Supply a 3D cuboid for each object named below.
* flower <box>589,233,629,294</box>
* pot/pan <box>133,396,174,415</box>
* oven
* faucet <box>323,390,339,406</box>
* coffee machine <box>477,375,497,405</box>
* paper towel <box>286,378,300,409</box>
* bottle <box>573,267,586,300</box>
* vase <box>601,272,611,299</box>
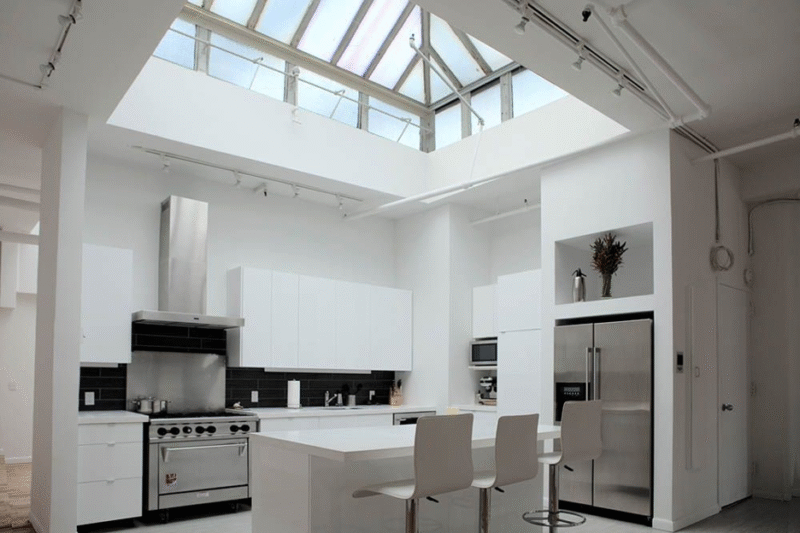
[{"bbox_3d":[2.665,0.000,7.452,0.389,0.804,0.338,1,-11,-2],"label":"flower"},{"bbox_3d":[-3.131,1.770,7.464,0.239,0.146,0.334,1,-2,32],"label":"pot/pan"},{"bbox_3d":[-2.574,2.272,7.295,1.181,0.839,0.803,7,-17,-32],"label":"oven"},{"bbox_3d":[-1.042,2.026,8.975,0.199,0.225,0.206,3,-9,-23],"label":"faucet"},{"bbox_3d":[1.369,1.937,9.091,0.358,0.473,0.299,14,-17,-40],"label":"coffee machine"},{"bbox_3d":[-1.528,1.863,8.482,0.290,0.471,0.308,0,-7,-4],"label":"paper towel"},{"bbox_3d":[2.304,0.261,7.531,0.120,0.423,0.137,-8,-13,38],"label":"bottle"},{"bbox_3d":[2.590,0.256,7.358,0.099,0.329,0.150,-2,-11,14],"label":"vase"}]
